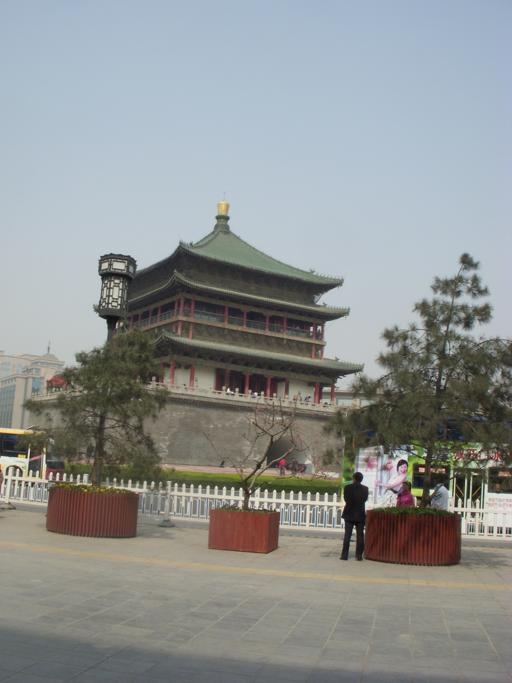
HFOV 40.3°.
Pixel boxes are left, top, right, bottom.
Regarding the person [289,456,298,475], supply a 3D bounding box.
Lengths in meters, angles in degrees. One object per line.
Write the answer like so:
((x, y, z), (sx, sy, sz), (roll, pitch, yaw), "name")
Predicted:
((2.035, 6.706, 37.695), (0.365, 0.680, 1.218), (-1, -48, 8), "person")

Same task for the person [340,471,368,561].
((1.454, 2.561, 10.324), (0.359, 1.233, 0.973), (2, -9, 8), "person")
